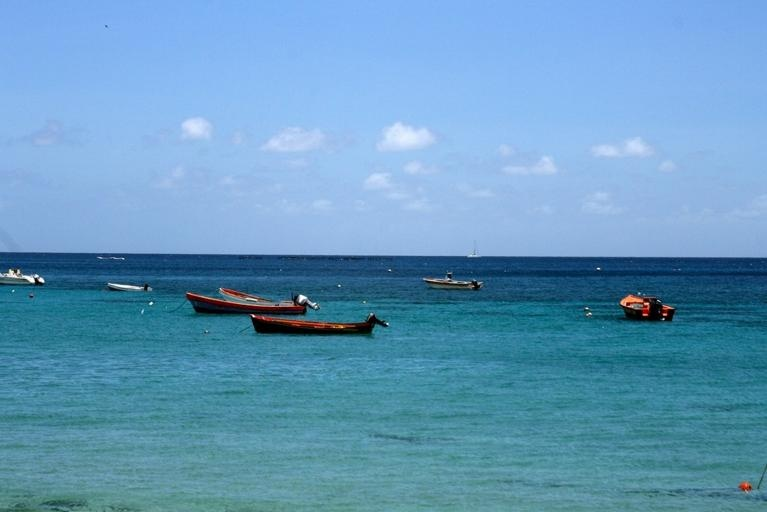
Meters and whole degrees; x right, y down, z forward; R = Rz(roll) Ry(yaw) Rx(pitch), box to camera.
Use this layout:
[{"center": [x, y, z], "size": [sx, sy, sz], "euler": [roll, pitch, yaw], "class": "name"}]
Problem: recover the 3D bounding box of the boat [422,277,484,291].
[{"center": [8.864, 3.839, 166.141], "size": [8.280, 1.450, 2.814], "euler": [3, 0, 29], "class": "boat"}]
